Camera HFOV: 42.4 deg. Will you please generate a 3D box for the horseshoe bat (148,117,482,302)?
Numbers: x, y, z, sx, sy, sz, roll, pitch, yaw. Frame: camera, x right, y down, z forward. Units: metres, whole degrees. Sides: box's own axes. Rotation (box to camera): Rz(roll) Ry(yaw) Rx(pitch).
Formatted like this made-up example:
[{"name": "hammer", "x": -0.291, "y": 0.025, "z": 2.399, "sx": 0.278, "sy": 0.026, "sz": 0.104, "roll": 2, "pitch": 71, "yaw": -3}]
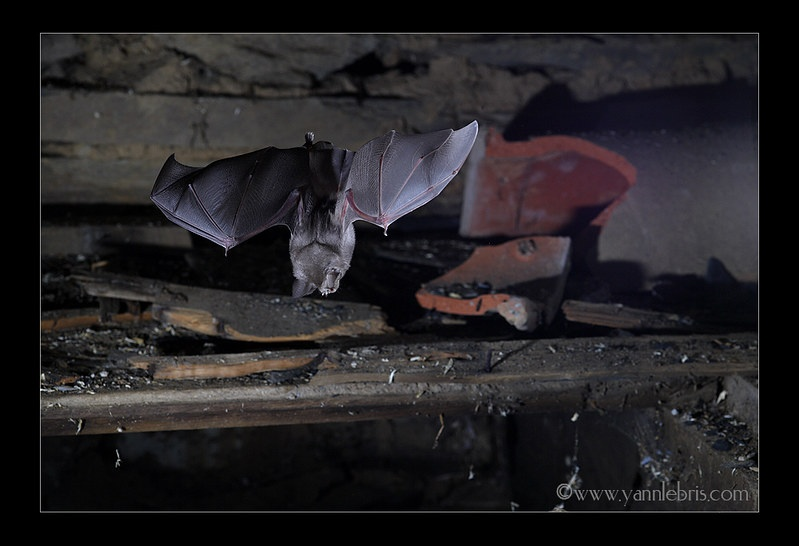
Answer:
[{"name": "horseshoe bat", "x": -0.370, "y": -0.176, "z": 4.485, "sx": 1.432, "sy": 0.674, "sz": 0.345, "roll": -4, "pitch": -5, "yaw": 7}]
